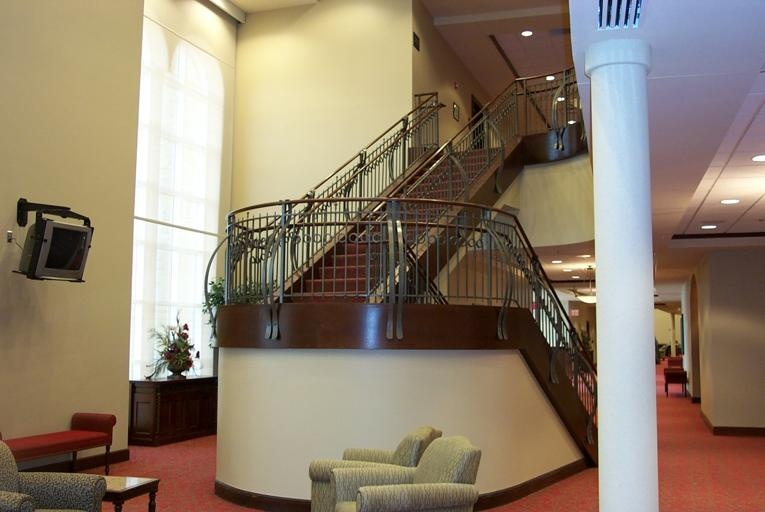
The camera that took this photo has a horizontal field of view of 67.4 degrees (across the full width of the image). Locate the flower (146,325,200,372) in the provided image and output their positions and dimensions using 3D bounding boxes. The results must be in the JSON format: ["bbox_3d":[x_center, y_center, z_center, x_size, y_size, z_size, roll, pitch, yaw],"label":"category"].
[{"bbox_3d":[-3.882,1.779,11.039,0.534,0.823,0.664,-10,5,9],"label":"flower"}]

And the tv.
[{"bbox_3d":[-4.737,-0.178,8.334,0.586,1.034,0.920,6,-4,25],"label":"tv"}]

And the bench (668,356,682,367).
[{"bbox_3d":[10.343,3.739,20.148,0.451,0.311,1.044,-5,-12,27],"label":"bench"}]

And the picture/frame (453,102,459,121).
[{"bbox_3d":[2.032,-3.974,15.764,0.032,0.407,0.521,-6,-14,21],"label":"picture/frame"}]

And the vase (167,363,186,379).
[{"bbox_3d":[-3.912,2.162,10.821,0.274,0.274,0.333,0,-1,-15],"label":"vase"}]

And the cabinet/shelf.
[{"bbox_3d":[-3.849,2.919,10.883,0.606,1.165,1.842,-4,-10,23],"label":"cabinet/shelf"}]
